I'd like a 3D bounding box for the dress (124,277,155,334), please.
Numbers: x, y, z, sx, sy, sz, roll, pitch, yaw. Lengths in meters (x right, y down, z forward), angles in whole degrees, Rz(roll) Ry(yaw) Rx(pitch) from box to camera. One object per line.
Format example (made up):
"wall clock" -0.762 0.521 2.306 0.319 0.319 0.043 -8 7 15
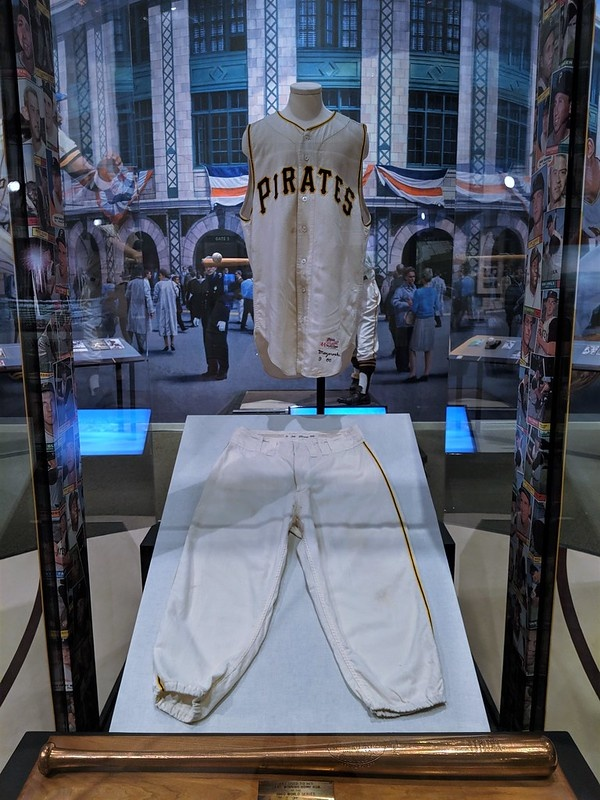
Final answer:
"dress" -0.541 -0.310 2.264 0.079 0.201 0.055 5 11 5

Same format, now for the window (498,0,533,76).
"window" 0.611 -1.019 1.913 0.101 0.184 0.075 8 16 30

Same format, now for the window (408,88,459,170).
"window" 0.402 -0.822 2.029 0.147 0.009 0.204 14 -30 17
